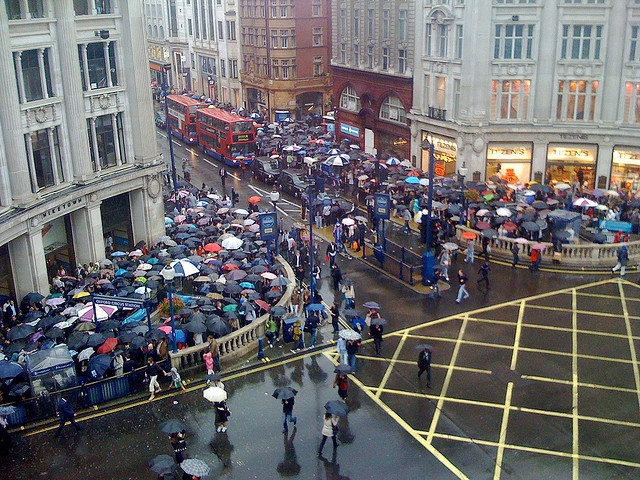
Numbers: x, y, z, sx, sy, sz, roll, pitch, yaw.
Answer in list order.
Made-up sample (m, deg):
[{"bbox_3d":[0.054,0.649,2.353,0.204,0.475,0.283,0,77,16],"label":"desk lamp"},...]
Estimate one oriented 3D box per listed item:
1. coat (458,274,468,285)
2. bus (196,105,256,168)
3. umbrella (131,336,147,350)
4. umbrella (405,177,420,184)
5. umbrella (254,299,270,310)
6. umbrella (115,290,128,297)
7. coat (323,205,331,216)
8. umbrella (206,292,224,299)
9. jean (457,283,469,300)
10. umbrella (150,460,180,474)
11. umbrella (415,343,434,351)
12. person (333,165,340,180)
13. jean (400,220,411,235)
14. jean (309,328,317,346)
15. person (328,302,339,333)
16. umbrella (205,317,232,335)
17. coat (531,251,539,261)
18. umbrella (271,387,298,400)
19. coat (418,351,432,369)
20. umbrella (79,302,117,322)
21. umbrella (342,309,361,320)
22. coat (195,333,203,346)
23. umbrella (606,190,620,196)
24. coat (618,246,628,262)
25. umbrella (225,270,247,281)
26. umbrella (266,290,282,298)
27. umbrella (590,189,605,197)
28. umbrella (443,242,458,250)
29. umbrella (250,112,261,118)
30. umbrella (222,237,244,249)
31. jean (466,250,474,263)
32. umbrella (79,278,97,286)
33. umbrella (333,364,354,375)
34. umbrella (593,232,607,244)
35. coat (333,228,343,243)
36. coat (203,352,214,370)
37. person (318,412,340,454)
[{"bbox_3d":[8.558,2.432,38.935,0.434,0.720,0.741,4,15,9],"label":"coat"},{"bbox_3d":[-10.860,-11.891,73.479,3.484,5.185,10.991,-12,23,-30],"label":"bus"},{"bbox_3d":[-8.696,5.001,31.235,0.771,0.609,0.536,-5,16,-24],"label":"umbrella"},{"bbox_3d":[7.626,-4.864,53.399,1.083,0.383,0.970,3,15,5],"label":"umbrella"},{"bbox_3d":[-3.198,3.549,35.649,0.822,0.543,0.502,0,15,-7],"label":"umbrella"},{"bbox_3d":[-10.921,2.918,35.705,0.617,0.247,0.757,-7,17,-29],"label":"umbrella"},{"bbox_3d":[0.553,-2.341,51.357,0.790,0.843,0.352,1,54,6],"label":"coat"},{"bbox_3d":[-5.810,3.101,35.816,0.832,0.230,0.666,-3,16,-15],"label":"umbrella"},{"bbox_3d":[8.684,3.066,39.527,0.454,1.103,1.167,8,16,24],"label":"jean"},{"bbox_3d":[-5.869,8.638,24.464,0.866,0.491,0.483,-7,17,-28],"label":"umbrella"},{"bbox_3d":[5.057,5.266,31.693,0.685,0.239,0.702,2,2,43],"label":"umbrella"},{"bbox_3d":[1.503,-6.438,62.278,0.896,1.358,0.526,-5,-8,16],"label":"person"},{"bbox_3d":[6.579,-0.893,50.262,0.824,1.255,0.368,-3,42,0],"label":"jean"},{"bbox_3d":[-0.371,5.171,35.190,0.410,1.119,0.779,1,14,-1],"label":"jean"},{"bbox_3d":[0.839,4.308,36.248,0.453,1.851,1.072,1,14,1],"label":"person"},{"bbox_3d":[-5.117,4.310,32.614,0.842,0.309,0.873,23,29,0],"label":"umbrella"},{"bbox_3d":[14.025,1.059,42.603,0.362,0.616,0.584,14,-29,-7],"label":"coat"},{"bbox_3d":[-1.517,6.656,27.709,0.611,0.216,0.645,2,21,15],"label":"umbrella"},{"bbox_3d":[5.066,5.930,31.776,0.519,0.978,0.311,6,15,19],"label":"coat"},{"bbox_3d":[-11.234,3.655,32.840,1.552,0.546,1.563,2,25,5],"label":"umbrella"},{"bbox_3d":[1.665,3.928,34.146,0.672,0.424,0.574,-1,15,-10],"label":"umbrella"},{"bbox_3d":[-6.232,5.021,33.292,0.388,0.824,0.784,-2,15,-12],"label":"coat"},{"bbox_3d":[22.332,-3.532,49.587,0.874,0.362,1.170,12,18,34],"label":"umbrella"},{"bbox_3d":[19.572,0.989,41.968,0.519,1.108,0.748,8,16,26],"label":"coat"},{"bbox_3d":[-5.025,2.077,38.178,1.223,0.528,0.724,8,16,24],"label":"umbrella"},{"bbox_3d":[-2.637,3.136,36.945,0.722,0.468,0.636,-1,15,-9],"label":"umbrella"},{"bbox_3d":[21.071,-3.487,49.288,0.847,0.614,1.425,10,17,28],"label":"umbrella"},{"bbox_3d":[8.394,0.487,41.837,0.752,0.480,0.797,9,17,26],"label":"umbrella"},{"bbox_3d":[-8.775,-16.735,87.032,1.246,0.507,2.658,0,15,-6],"label":"umbrella"},{"bbox_3d":[-5.743,0.270,42.419,1.137,0.534,1.332,13,19,35],"label":"umbrella"},{"bbox_3d":[10.384,1.012,44.687,0.451,0.934,1.291,5,15,16],"label":"jean"},{"bbox_3d":[-13.828,2.532,38.318,0.970,0.498,0.518,5,15,14],"label":"umbrella"},{"bbox_3d":[1.098,6.011,29.716,0.662,0.527,0.695,6,16,17],"label":"umbrella"},{"bbox_3d":[18.673,-0.078,43.449,0.750,0.697,0.656,5,15,14],"label":"umbrella"},{"bbox_3d":[1.281,-0.327,46.685,0.750,1.365,0.486,7,26,13],"label":"coat"},{"bbox_3d":[-5.552,6.045,32.213,0.434,0.914,0.372,-2,15,-13],"label":"coat"},{"bbox_3d":[0.332,8.118,27.657,1.104,2.077,0.631,-11,20,-29],"label":"person"}]
